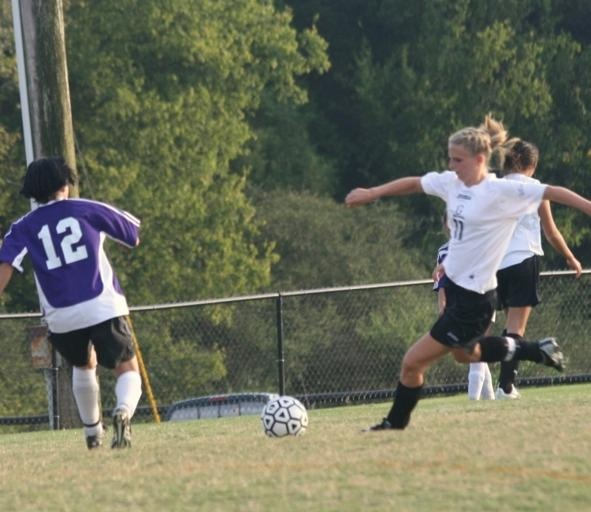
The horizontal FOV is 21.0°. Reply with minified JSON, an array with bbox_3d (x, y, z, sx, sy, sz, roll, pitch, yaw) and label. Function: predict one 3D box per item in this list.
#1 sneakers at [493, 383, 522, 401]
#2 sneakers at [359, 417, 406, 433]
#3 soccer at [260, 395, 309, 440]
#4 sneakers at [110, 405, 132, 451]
[{"bbox_3d":[3.041,1.949,22.836,0.266,0.161,0.191,-3,0,-8],"label":"sneakers"},{"bbox_3d":[1.143,2.252,21.009,0.604,0.302,0.222,2,-12,1],"label":"sneakers"},{"bbox_3d":[-0.137,2.180,21.438,0.509,0.586,0.505,-9,-14,22],"label":"soccer"},{"bbox_3d":[-2.290,2.232,20.844,0.181,0.591,0.247,-1,-6,-4],"label":"sneakers"}]
